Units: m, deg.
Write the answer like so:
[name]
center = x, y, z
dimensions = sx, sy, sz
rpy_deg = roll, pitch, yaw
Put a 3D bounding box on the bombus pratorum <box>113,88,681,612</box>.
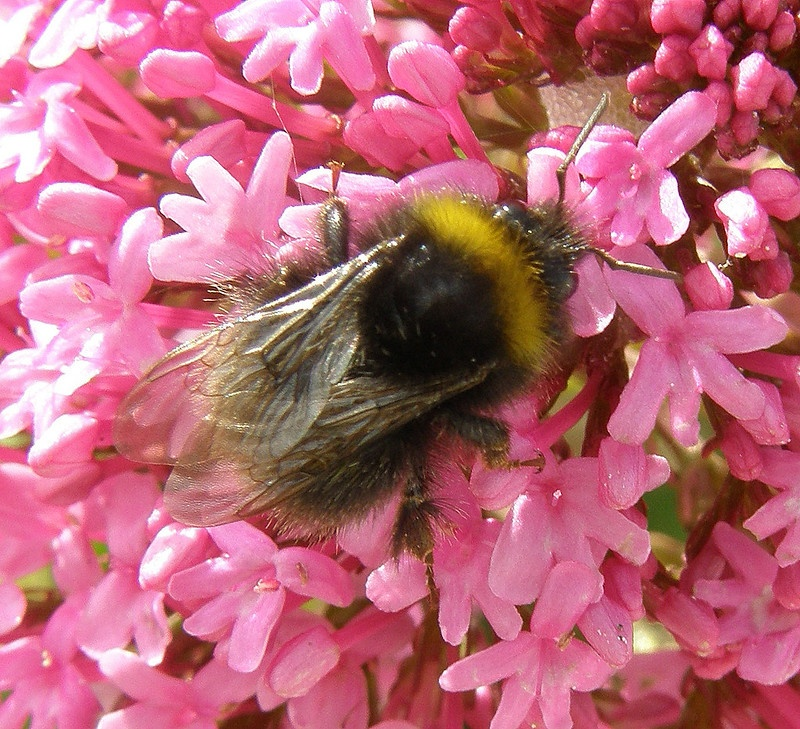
[bombus pratorum]
center = 0.005, -0.015, 1.127
dimensions = 0.639, 0.161, 0.389
rpy_deg = -39, 83, -4
